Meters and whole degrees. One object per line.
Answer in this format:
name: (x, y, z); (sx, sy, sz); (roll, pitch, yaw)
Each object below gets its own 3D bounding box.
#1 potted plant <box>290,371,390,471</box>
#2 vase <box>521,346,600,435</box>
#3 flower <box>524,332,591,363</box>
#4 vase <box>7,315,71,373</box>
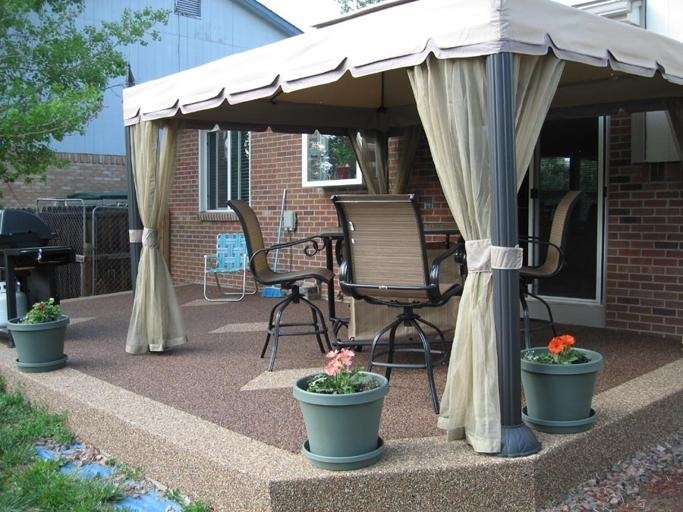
potted plant: (0.003, 0.885, 2.985); (0.521, 0.413, 0.520); (-3, 2, -15)
vase: (1.314, 0.806, 3.383); (0.458, 0.400, 0.473); (-1, 1, -1)
flower: (1.282, 0.587, 3.297); (0.226, 0.100, 0.234); (-1, 2, 38)
vase: (-2.612, 0.770, 4.772); (0.427, 0.393, 0.442); (-1, 0, 1)
